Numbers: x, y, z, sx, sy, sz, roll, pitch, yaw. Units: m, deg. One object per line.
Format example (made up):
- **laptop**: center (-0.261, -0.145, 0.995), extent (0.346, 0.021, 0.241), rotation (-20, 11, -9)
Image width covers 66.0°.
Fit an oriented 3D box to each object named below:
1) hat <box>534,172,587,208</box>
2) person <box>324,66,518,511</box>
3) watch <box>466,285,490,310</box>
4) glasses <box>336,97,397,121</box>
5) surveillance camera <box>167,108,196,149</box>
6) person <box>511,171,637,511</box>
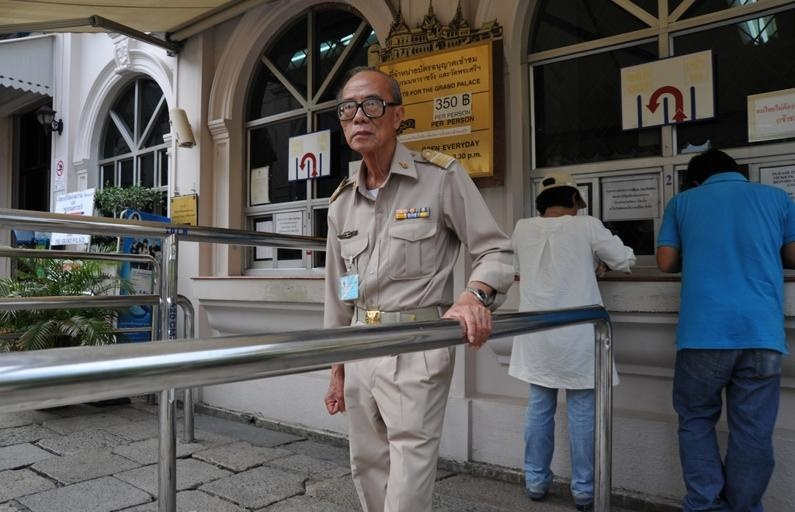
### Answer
- **hat**: center (1.216, -0.519, 4.558), extent (0.340, 0.172, 0.246), rotation (18, -19, -33)
- **person**: center (0.114, 0.191, 3.198), extent (0.588, 2.349, 1.122), rotation (-4, 4, -44)
- **watch**: center (0.395, 0.197, 2.931), extent (0.100, 0.100, 0.105), rotation (5, -7, 45)
- **glasses**: center (-0.146, -0.757, 3.160), extent (0.317, 0.117, 0.098), rotation (-1, 3, -1)
- **surveillance camera**: center (-2.406, -1.442, 6.913), extent (0.233, 0.198, 0.469), rotation (-9, 42, -21)
- **person**: center (1.183, 0.572, 4.320), extent (0.816, 2.328, 0.602), rotation (0, 3, 25)
